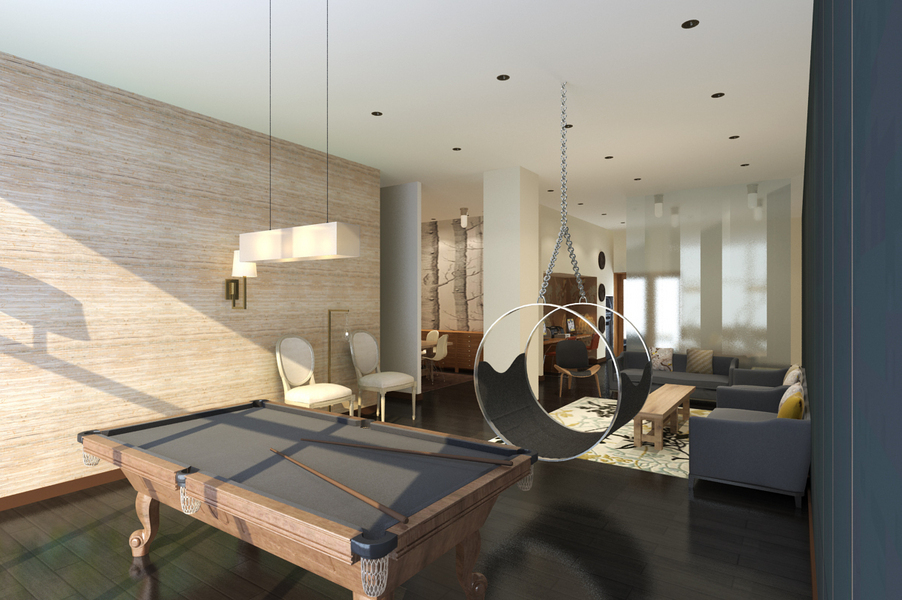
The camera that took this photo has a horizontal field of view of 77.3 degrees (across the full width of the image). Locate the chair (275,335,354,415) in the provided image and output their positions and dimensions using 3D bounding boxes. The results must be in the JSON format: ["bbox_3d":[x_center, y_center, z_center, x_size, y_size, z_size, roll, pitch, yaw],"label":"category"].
[{"bbox_3d":[-1.541,0.951,6.313,0.772,1.043,0.678,4,6,44],"label":"chair"}]

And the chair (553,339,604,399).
[{"bbox_3d":[1.755,0.950,7.875,0.669,0.736,0.591,0,4,8],"label":"chair"}]

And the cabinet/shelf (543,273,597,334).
[{"bbox_3d":[2.976,0.086,12.507,1.652,1.393,0.552,-8,-1,-33],"label":"cabinet/shelf"}]

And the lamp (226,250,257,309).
[{"bbox_3d":[-2.209,-0.233,6.097,0.325,0.652,0.407,2,12,8],"label":"lamp"}]

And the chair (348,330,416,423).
[{"bbox_3d":[-0.908,0.952,7.205,0.783,1.090,0.707,4,5,39],"label":"chair"}]

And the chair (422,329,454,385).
[{"bbox_3d":[-0.440,0.993,10.378,0.739,1.006,0.798,-2,-4,32],"label":"chair"}]
